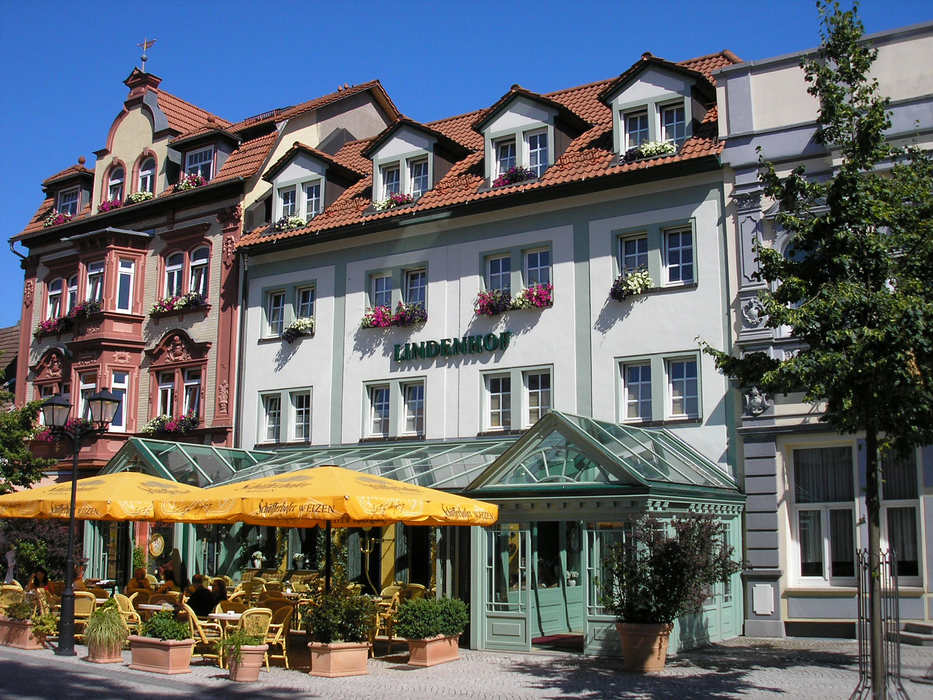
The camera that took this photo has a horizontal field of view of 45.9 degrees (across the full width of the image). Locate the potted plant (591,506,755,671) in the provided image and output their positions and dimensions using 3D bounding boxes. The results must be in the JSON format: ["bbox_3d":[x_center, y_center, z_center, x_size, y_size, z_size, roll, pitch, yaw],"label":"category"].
[{"bbox_3d":[3.817,4.645,21.164,2.184,2.941,0.935,-2,-10,0],"label":"potted plant"}]
